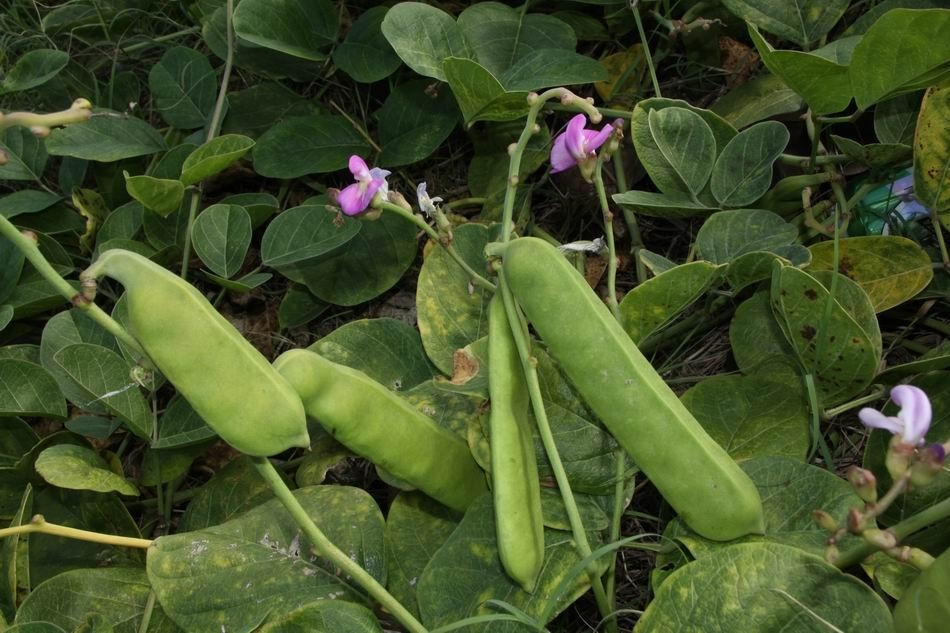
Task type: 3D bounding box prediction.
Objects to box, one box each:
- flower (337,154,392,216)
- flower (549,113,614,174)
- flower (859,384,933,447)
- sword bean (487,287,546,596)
[{"bbox_3d":[-0.210,-0.255,1.781,0.114,0.114,0.056,-19,2,28],"label":"flower"},{"bbox_3d":[0.212,-0.345,1.786,0.125,0.105,0.095,-1,30,28],"label":"flower"},{"bbox_3d":[0.688,0.162,1.496,0.093,0.089,0.124,8,35,40],"label":"flower"},{"bbox_3d":[0.071,0.250,1.760,0.109,0.534,0.089,-1,-16,-4],"label":"sword bean"}]
